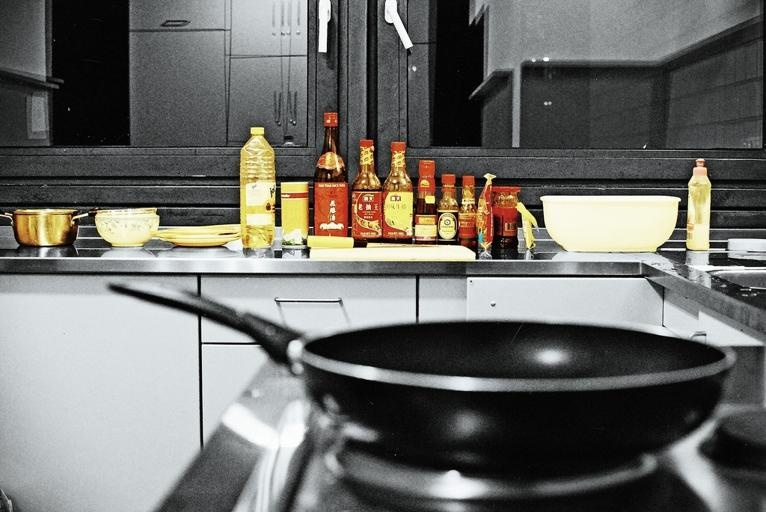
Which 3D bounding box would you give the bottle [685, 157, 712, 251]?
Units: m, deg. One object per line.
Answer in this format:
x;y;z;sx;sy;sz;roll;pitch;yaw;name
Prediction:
1.001;-0.164;2.122;0.067;0.282;0.137;4;8;24;bottle

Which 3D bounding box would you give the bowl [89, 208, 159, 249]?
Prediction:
-0.785;-0.090;2.079;0.147;0.084;0.146;0;1;0;bowl

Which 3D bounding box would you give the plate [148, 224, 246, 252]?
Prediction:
-0.595;-0.069;2.167;0.271;0.061;0.223;-1;8;-11;plate
